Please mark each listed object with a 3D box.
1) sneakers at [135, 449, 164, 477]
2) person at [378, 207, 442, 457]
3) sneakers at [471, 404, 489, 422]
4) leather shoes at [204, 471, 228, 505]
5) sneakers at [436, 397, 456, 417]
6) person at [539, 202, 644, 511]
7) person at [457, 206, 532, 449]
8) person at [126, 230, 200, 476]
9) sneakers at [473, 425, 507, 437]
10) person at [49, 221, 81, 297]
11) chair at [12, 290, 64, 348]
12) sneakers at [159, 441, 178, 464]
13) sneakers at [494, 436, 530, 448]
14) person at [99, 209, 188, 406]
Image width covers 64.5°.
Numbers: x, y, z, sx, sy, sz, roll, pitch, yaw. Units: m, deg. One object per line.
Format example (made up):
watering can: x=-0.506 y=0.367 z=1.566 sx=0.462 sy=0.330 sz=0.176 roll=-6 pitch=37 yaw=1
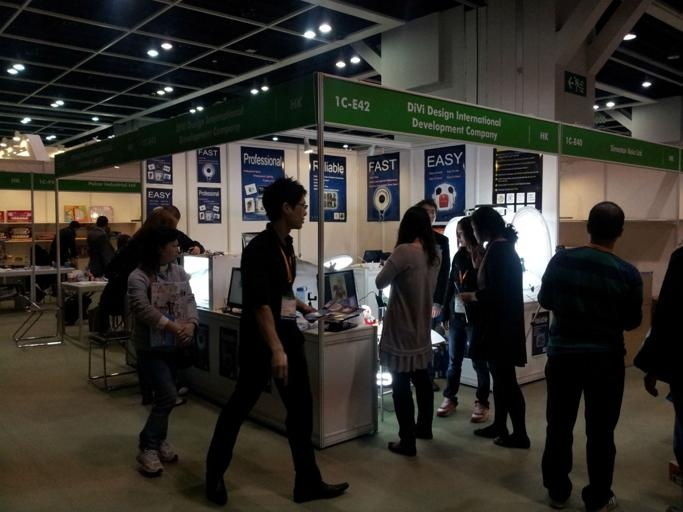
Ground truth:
sneakers: x=-1.417 y=1.537 z=4.033 sx=0.116 sy=0.117 sz=0.251 roll=4 pitch=-3 yaw=-39
person: x=0.550 y=0.584 z=4.260 sx=0.539 sy=1.924 sz=0.285 roll=-6 pitch=9 yaw=-39
sneakers: x=1.227 y=1.409 z=4.814 sx=0.087 sy=0.097 sz=0.224 roll=-3 pitch=-12 yaw=29
leather shoes: x=-0.831 y=1.566 z=3.655 sx=0.095 sy=0.197 sz=0.273 roll=4 pitch=-6 yaw=-36
sneakers: x=0.960 y=1.388 z=4.955 sx=0.094 sy=0.114 sz=0.236 roll=-6 pitch=-12 yaw=39
person: x=1.592 y=0.679 z=3.522 sx=0.605 sy=2.027 sz=0.343 roll=2 pitch=7 yaw=21
person: x=1.282 y=0.581 z=4.346 sx=0.465 sy=1.919 sz=0.322 roll=1 pitch=7 yaw=13
person: x=-1.335 y=0.688 z=4.162 sx=0.517 sy=1.806 sz=0.436 roll=-5 pitch=8 yaw=-32
sneakers: x=1.242 y=1.466 z=4.539 sx=0.251 sy=0.102 sz=0.098 roll=-8 pitch=-4 yaw=27
person: x=-5.302 y=-0.033 z=10.388 sx=0.449 sy=1.312 sz=0.456 roll=8 pitch=-2 yaw=42
chair: x=-4.772 y=1.008 z=8.534 sx=0.819 sy=1.053 sz=0.573 roll=-2 pitch=10 yaw=-23
sneakers: x=-1.328 y=1.534 z=4.221 sx=0.084 sy=0.095 sz=0.207 roll=1 pitch=-2 yaw=-42
sneakers: x=1.377 y=1.502 z=4.414 sx=0.224 sy=0.084 sz=0.112 roll=4 pitch=0 yaw=33
person: x=-1.819 y=0.295 z=5.147 sx=0.833 sy=1.507 sz=0.633 roll=-17 pitch=20 yaw=-36
